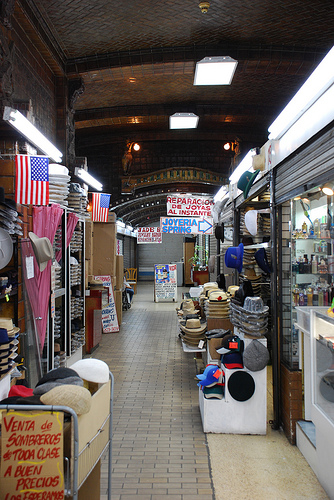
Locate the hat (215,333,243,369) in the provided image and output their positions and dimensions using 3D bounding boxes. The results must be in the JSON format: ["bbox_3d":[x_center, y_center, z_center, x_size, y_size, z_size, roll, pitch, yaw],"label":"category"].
[{"bbox_3d":[0.657,1.034,3.733,0.179,0.178,0.309,6,12,-1],"label":"hat"}]

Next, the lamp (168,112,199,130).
[{"bbox_3d":[0.354,-2.760,7.751,0.635,0.188,0.615,2,-8,-9],"label":"lamp"}]

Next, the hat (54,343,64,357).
[{"bbox_3d":[-1.423,1.315,4.820,0.133,0.160,0.134,2,-1,-4],"label":"hat"}]

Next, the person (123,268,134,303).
[{"bbox_3d":[-1.398,1.284,12.796,0.540,1.230,0.374,3,0,-27],"label":"person"}]

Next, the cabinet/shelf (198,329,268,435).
[{"bbox_3d":[0.710,1.266,3.875,0.473,0.712,0.997,1,-4,3],"label":"cabinet/shelf"}]

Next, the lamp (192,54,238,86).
[{"bbox_3d":[0.638,-2.395,4.849,0.364,0.105,0.421,-1,-10,4],"label":"lamp"}]

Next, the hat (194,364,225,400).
[{"bbox_3d":[0.454,1.304,3.685,0.195,0.182,0.315,4,35,4],"label":"hat"}]

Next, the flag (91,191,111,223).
[{"bbox_3d":[-1.493,-0.961,8.216,0.378,0.640,0.354,-2,0,-13],"label":"flag"}]
